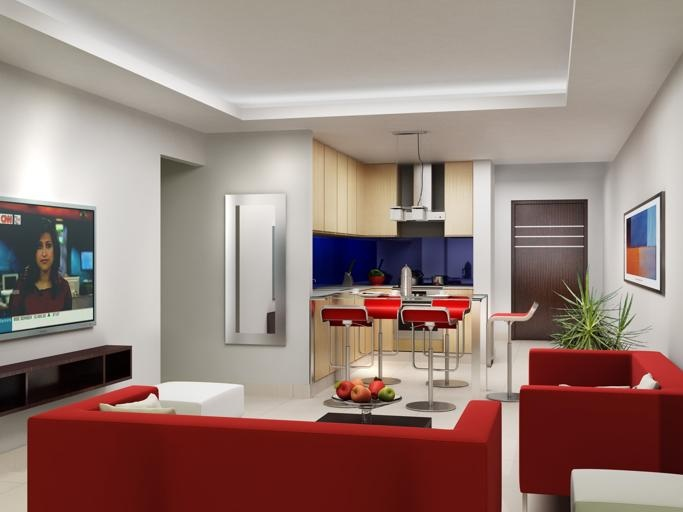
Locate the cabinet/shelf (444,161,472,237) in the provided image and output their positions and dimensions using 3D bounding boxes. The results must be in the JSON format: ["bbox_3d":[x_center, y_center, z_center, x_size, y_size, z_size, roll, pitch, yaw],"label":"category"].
[{"bbox_3d":[2.083,-1.069,8.887,0.682,1.382,0.586,-1,4,6],"label":"cabinet/shelf"}]

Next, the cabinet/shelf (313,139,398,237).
[{"bbox_3d":[0.207,-0.617,7.980,1.058,1.373,2.050,0,-2,10],"label":"cabinet/shelf"}]

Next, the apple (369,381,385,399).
[{"bbox_3d":[0.264,1.022,3.792,0.107,0.162,0.118,15,-18,-42],"label":"apple"}]

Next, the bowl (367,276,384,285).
[{"bbox_3d":[0.632,0.448,9.028,0.258,0.168,0.345,1,-1,4],"label":"bowl"}]

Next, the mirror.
[{"bbox_3d":[-1.119,0.185,6.427,0.826,1.945,0.105,0,-1,15],"label":"mirror"}]

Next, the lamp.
[{"bbox_3d":[0.896,-1.138,6.678,0.576,1.034,0.598,-7,11,-41],"label":"lamp"}]

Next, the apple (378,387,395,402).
[{"bbox_3d":[0.331,1.018,3.697,0.101,0.109,0.106,2,-2,-27],"label":"apple"}]

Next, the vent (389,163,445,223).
[{"bbox_3d":[1.263,-1.130,8.655,0.974,1.030,0.740,3,2,34],"label":"vent"}]
